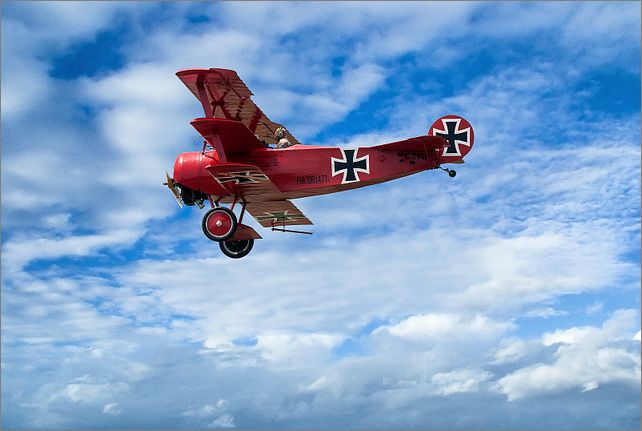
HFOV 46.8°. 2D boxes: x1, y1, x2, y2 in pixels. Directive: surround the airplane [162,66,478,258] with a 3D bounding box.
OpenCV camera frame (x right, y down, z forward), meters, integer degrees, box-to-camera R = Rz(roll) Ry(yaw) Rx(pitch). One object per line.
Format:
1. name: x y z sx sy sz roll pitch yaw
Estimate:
1. airplane: -0.535 -2.105 28.556 10.245 2.978 10.345 -5 -31 20
